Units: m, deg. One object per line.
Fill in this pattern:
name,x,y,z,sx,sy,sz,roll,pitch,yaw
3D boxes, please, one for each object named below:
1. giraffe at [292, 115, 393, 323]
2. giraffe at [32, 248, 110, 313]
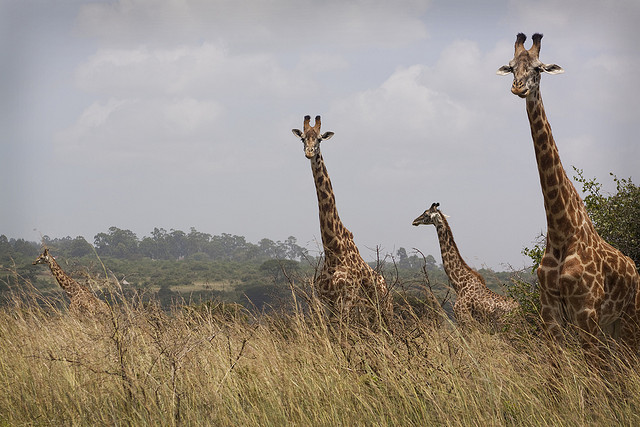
giraffe,0.344,0.100,13.319,1.195,3.926,2.097,-8,-12,-1
giraffe,-5.465,1.436,16.396,1.140,1.882,3.289,-3,-15,-25
